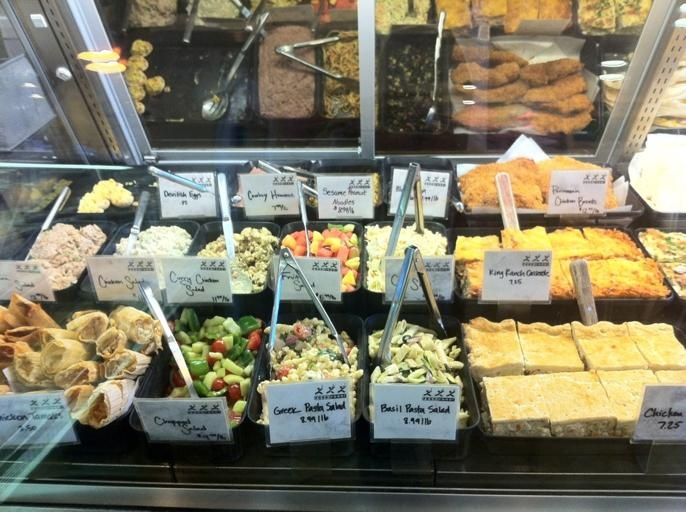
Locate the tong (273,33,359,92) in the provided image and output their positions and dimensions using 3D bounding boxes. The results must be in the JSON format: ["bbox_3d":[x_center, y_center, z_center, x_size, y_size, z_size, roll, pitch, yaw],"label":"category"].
[{"bbox_3d":[-0.136,-0.969,2.616,0.411,0.225,0.132,-1,38,1],"label":"tong"}]

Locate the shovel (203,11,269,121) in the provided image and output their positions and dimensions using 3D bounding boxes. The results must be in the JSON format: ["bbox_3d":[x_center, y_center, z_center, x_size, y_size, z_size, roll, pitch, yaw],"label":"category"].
[{"bbox_3d":[-0.541,-0.969,2.643,0.118,0.571,0.081,31,10,-2],"label":"shovel"}]

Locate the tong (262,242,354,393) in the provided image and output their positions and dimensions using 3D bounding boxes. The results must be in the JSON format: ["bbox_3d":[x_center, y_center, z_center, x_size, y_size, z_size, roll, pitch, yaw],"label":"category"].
[{"bbox_3d":[-0.134,0.189,1.891,0.299,0.407,0.317,-3,38,0],"label":"tong"}]

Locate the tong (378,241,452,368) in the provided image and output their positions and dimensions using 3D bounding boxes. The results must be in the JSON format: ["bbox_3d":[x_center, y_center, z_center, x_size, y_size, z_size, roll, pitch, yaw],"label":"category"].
[{"bbox_3d":[0.224,0.130,1.875,0.334,0.428,0.192,-22,42,-23],"label":"tong"}]
